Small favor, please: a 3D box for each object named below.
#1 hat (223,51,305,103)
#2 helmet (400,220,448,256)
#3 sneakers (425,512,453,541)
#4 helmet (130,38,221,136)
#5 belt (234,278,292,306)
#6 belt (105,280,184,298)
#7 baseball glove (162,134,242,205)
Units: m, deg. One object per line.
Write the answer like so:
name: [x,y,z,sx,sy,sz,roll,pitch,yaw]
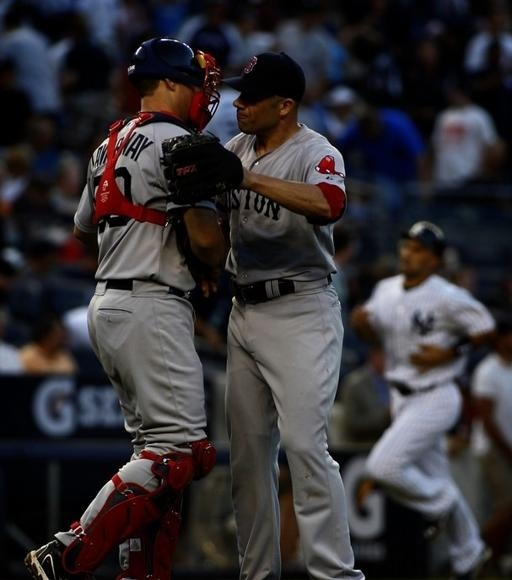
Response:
hat: [0.047,-0.958,5.028,0.343,0.173,0.216,12,20,-16]
helmet: [1.034,-0.328,6.764,0.262,0.116,0.180,24,5,-17]
sneakers: [0.935,1.237,5.809,0.114,0.162,0.140,-7,4,-41]
helmet: [-0.376,-0.962,5.052,0.455,0.382,0.346,-4,15,-18]
belt: [0.029,0.008,5.069,0.308,0.148,0.057,9,18,28]
belt: [-0.500,-0.016,4.738,0.162,0.034,0.138,9,-2,18]
baseball glove: [-0.227,-0.499,4.622,0.345,0.293,0.169,1,16,-2]
